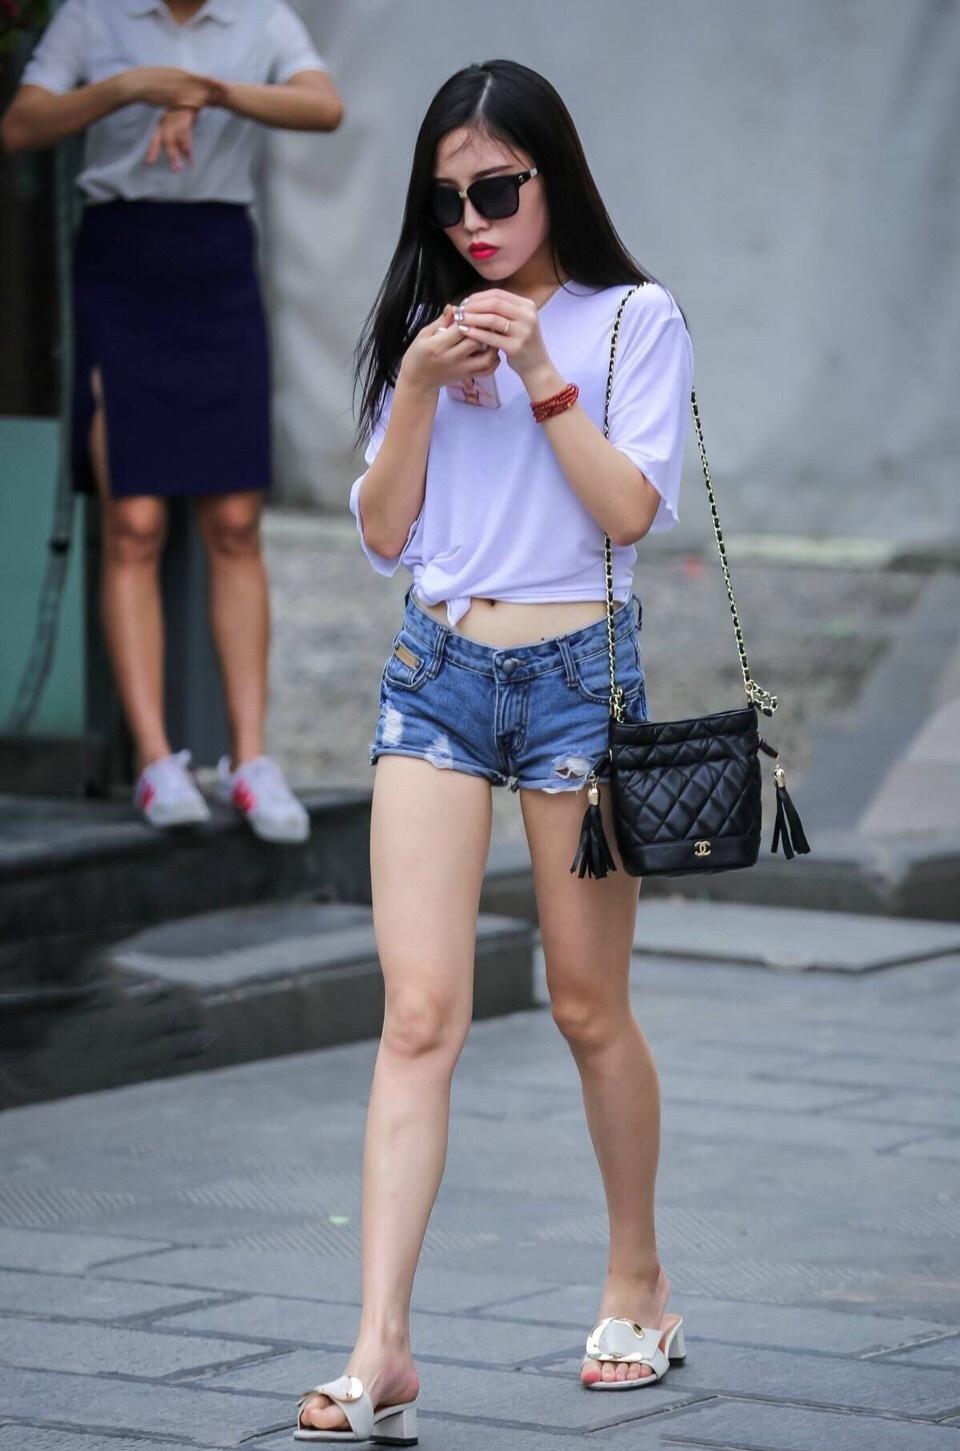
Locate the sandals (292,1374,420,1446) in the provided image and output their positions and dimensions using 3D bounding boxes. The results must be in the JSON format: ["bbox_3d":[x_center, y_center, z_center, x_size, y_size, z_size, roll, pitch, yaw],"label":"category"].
[{"bbox_3d":[-0.118,0.709,1.570,0.067,0.063,0.173,-9,-17,32],"label":"sandals"}]

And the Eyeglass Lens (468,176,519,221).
[{"bbox_3d":[0.018,-0.613,1.734,0.052,0.022,0.056,-12,15,25],"label":"Eyeglass Lens"}]

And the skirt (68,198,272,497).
[{"bbox_3d":[-0.795,-0.954,3.828,0.529,0.723,0.359,-7,34,-16],"label":"skirt"}]

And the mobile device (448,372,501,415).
[{"bbox_3d":[-0.002,-0.392,1.761,0.071,0.009,0.087,15,-16,5],"label":"mobile device"}]

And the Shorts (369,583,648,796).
[{"bbox_3d":[0.029,-0.022,1.797,0.422,0.253,0.221,4,8,-3],"label":"Shorts"}]

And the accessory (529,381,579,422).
[{"bbox_3d":[0.088,-0.355,1.665,0.056,0.044,0.035,-10,34,-21],"label":"accessory"}]

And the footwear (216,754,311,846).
[{"bbox_3d":[-0.580,0.201,4.100,0.119,0.269,0.169,3,44,50],"label":"footwear"}]
